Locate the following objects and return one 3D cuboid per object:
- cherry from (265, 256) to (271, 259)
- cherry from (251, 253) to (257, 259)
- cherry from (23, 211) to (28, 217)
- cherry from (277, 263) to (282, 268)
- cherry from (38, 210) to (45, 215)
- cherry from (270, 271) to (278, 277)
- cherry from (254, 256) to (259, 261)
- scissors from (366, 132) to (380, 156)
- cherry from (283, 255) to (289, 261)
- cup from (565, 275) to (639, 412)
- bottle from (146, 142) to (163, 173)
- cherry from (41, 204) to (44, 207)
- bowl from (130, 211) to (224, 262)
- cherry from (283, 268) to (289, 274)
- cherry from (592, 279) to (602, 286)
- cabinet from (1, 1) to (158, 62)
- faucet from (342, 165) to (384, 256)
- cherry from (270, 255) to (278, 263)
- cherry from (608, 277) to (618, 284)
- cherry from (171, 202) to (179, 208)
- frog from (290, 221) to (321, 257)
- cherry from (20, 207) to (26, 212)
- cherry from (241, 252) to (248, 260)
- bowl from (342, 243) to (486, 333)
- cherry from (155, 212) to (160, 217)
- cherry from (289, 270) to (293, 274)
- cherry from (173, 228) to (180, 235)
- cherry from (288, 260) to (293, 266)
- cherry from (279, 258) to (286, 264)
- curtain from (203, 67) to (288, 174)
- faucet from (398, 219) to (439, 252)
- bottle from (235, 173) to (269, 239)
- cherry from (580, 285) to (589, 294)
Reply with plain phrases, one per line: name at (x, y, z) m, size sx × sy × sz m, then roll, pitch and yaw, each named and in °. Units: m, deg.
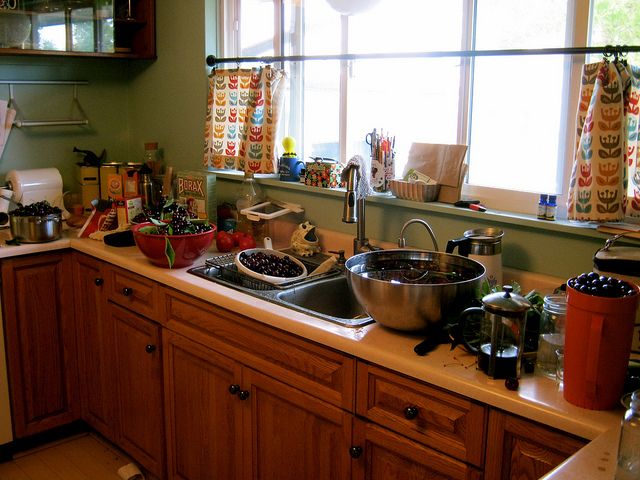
cherry at (-0.236, 0.082, 2.387) m, size 0.011 × 0.006 × 0.011 m, roll -1°, pitch 19°, yaw 6°
cherry at (-0.300, 0.075, 2.393) m, size 0.020 × 0.014 × 0.034 m, roll 1°, pitch -1°, yaw 13°
cherry at (-1.514, -0.133, 2.724) m, size 0.023 × 0.024 × 0.013 m, roll 2°, pitch 14°, yaw 16°
cherry at (-0.179, 0.116, 2.326) m, size 0.015 × 0.012 × 0.015 m, roll 3°, pitch 6°, yaw 0°
cherry at (-1.453, -0.143, 2.755) m, size 0.029 × 0.019 × 0.034 m, roll -4°, pitch 15°, yaw -26°
cherry at (-0.196, 0.149, 2.281) m, size 0.020 × 0.009 × 0.023 m, roll -1°, pitch 11°, yaw -21°
cherry at (-0.281, 0.085, 2.354) m, size 0.011 × 0.020 × 0.020 m, roll 1°, pitch 0°, yaw 5°
scissors at (0.252, -0.475, 2.539) m, size 0.038 × 0.071 × 0.103 m, roll -2°, pitch 14°, yaw -19°
cherry at (-0.153, 0.086, 2.433) m, size 0.016 × 0.021 × 0.035 m, roll 4°, pitch -10°, yaw 7°
cup at (0.766, 0.290, 1.466) m, size 0.179 × 0.339 × 0.144 m, roll 8°, pitch 14°, yaw 25°
bottle at (-1.064, -0.526, 3.395) m, size 0.098 × 0.193 × 0.154 m, roll -2°, pitch 14°, yaw -17°
cherry at (-1.468, -0.180, 2.800) m, size 0.008 × 0.016 × 0.008 m, roll -7°, pitch 18°, yaw -34°
bowl at (-0.718, -0.031, 2.526) m, size 0.430 × 0.204 × 0.322 m, roll 4°, pitch 14°, yaw 8°
cherry at (-0.150, 0.139, 2.309) m, size 0.018 × 0.011 × 0.027 m, roll 4°, pitch 1°, yaw -2°
cherry at (0.760, 0.119, 1.448) m, size 0.022 × 0.012 × 0.025 m, roll -1°, pitch 14°, yaw -15°
cabinet at (-1.446, -1.294, 3.189) m, size 0.868 × 0.389 × 0.252 m, roll -8°, pitch 16°, yaw -36°
faucet at (0.173, -0.128, 2.355) m, size 0.116 × 0.405 × 0.153 m, roll -9°, pitch 21°, yaw -42°
cherry at (-0.205, 0.089, 2.378) m, size 0.024 × 0.011 × 0.025 m, roll -1°, pitch 26°, yaw 5°
cherry at (0.814, 0.116, 1.471) m, size 0.015 × 0.008 × 0.020 m, roll 2°, pitch 18°, yaw -6°
cherry at (-0.814, -0.195, 2.975) m, size 0.045 × 0.024 × 0.064 m, roll 2°, pitch 5°, yaw 2°
frog at (-0.065, -0.008, 2.622) m, size 0.157 × 0.163 × 0.157 m, roll -1°, pitch 15°, yaw -19°
cherry at (-1.543, -0.156, 2.743) m, size 0.026 × 0.017 × 0.031 m, roll -6°, pitch 16°, yaw -30°
cherry at (-0.339, 0.077, 2.386) m, size 0.021 × 0.014 × 0.033 m, roll 1°, pitch 24°, yaw -29°
bowl at (0.229, 0.184, 1.876) m, size 0.392 × 0.193 × 0.402 m, roll 4°, pitch 10°, yaw -1°
cherry at (-0.812, -0.127, 2.638) m, size 0.021 × 0.017 × 0.022 m, roll 4°, pitch 6°, yaw 40°
cherry at (-0.125, 0.143, 2.315) m, size 0.012 × 0.008 × 0.020 m, roll 3°, pitch 14°, yaw 5°
cherry at (-0.652, -0.037, 2.400) m, size 0.030 × 0.024 × 0.026 m, roll 2°, pitch 13°, yaw -2°
cherry at (-0.133, 0.112, 2.402) m, size 0.015 × 0.017 × 0.017 m, roll 0°, pitch 7°, yaw -14°
cherry at (-0.170, 0.098, 2.384) m, size 0.018 × 0.013 × 0.030 m, roll 2°, pitch 5°, yaw 10°
curtain at (-0.442, -0.682, 3.020) m, size 0.517 × 0.564 × 0.150 m, roll 7°, pitch 9°, yaw 25°
faucet at (0.414, -0.028, 2.213) m, size 0.148 × 0.160 × 0.295 m, roll 4°, pitch 14°, yaw 9°
bottle at (-0.360, -0.178, 2.849) m, size 0.180 × 0.358 × 0.194 m, roll 2°, pitch 13°, yaw 0°
cherry at (0.722, 0.137, 1.438) m, size 0.016 × 0.006 × 0.016 m, roll -17°, pitch 27°, yaw -32°
